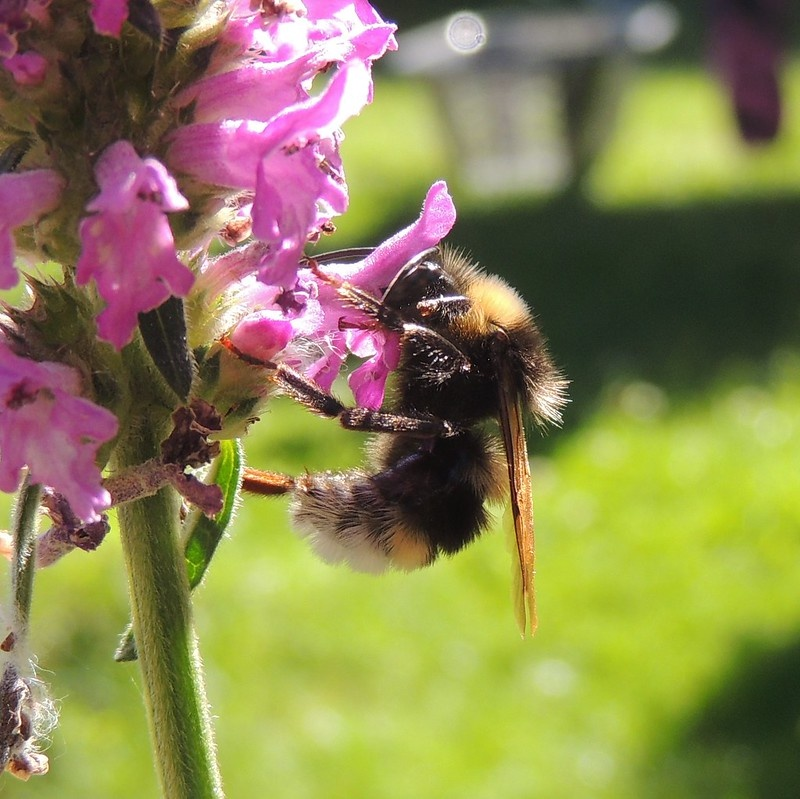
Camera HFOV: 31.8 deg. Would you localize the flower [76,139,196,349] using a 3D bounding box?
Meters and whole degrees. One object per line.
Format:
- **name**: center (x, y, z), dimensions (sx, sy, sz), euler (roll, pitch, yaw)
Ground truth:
- **flower**: center (-0.542, -0.329, 2.853), dimensions (0.237, 0.474, 0.138), euler (-10, -14, -8)
